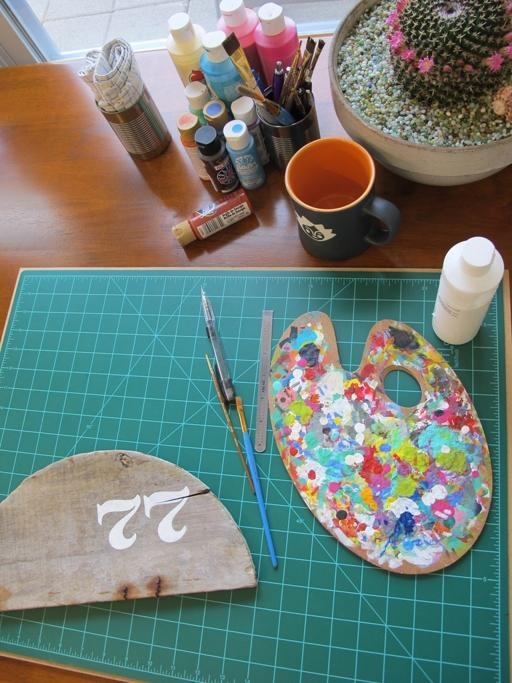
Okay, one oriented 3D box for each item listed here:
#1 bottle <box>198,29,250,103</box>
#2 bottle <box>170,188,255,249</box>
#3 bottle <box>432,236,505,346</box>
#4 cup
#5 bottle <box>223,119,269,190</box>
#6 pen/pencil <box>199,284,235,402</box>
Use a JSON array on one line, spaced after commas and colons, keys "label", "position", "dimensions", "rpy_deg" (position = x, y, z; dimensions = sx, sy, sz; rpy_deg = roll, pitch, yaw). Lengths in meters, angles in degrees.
[{"label": "bottle", "position": [-0.053, -0.393, 0.832], "dimensions": [0.045, 0.102, 0.042], "rpy_deg": [-7, 62, 14]}, {"label": "bottle", "position": [-0.087, -0.183, 0.941], "dimensions": [0.157, 0.058, 0.056], "rpy_deg": [-25, 38, 18]}, {"label": "bottle", "position": [0.251, -0.060, 0.691], "dimensions": [0.077, 0.190, 0.072], "rpy_deg": [-6, 68, 16]}, {"label": "cup", "position": [0.133, -0.173, 0.778], "dimensions": [0.161, 0.147, 0.099], "rpy_deg": [28, 80, 19]}, {"label": "bottle", "position": [-0.018, -0.280, 0.865], "dimensions": [0.044, 0.115, 0.041], "rpy_deg": [-5, 66, 10]}, {"label": "pen/pencil", "position": [-0.057, 0.009, 0.844], "dimensions": [0.022, 0.021, 0.182], "rpy_deg": [-22, 74, 3]}]
